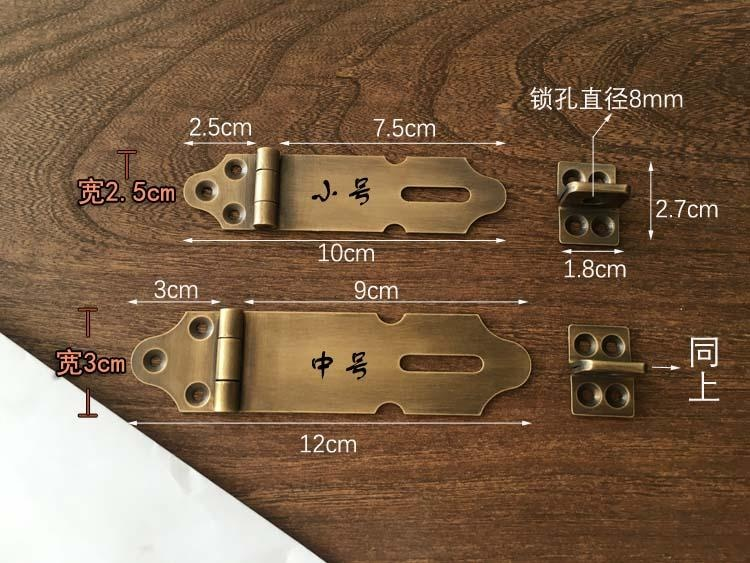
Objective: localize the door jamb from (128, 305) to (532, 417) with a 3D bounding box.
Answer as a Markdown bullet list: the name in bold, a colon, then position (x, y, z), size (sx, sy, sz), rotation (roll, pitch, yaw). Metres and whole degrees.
- **door jamb**: position (-0.100, 0.178, 1.835), size (0.866, 0.183, 0.220), rotation (-2, 62, 7)

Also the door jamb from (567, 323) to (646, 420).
- **door jamb**: position (0.502, 0.194, 1.775), size (0.246, 0.079, 0.174), rotation (-1, 93, 4)

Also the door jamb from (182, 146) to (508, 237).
- **door jamb**: position (-0.074, -0.204, 1.895), size (0.873, 0.089, 0.161), rotation (6, 106, 32)
